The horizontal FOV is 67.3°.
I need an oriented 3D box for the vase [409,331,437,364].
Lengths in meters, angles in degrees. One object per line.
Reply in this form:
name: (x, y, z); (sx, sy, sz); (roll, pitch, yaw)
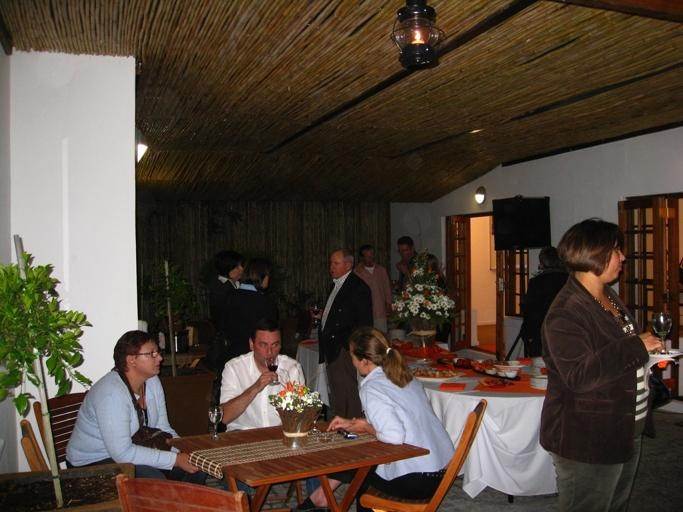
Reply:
vase: (0.782, 0.854, 4.867); (0.216, 0.236, 0.231); (-1, -18, 1)

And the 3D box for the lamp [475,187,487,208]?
lamp: (2.437, -1.062, 8.879); (0.095, 0.375, 0.353); (1, -5, -19)

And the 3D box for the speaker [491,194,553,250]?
speaker: (2.726, -0.576, 7.843); (0.821, 0.839, 0.417); (-1, 21, 14)

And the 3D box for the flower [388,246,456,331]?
flower: (0.640, 0.360, 5.116); (0.680, 0.953, 0.724); (0, -5, 2)

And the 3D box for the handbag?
handbag: (-1.135, 0.972, 3.036); (0.227, 0.395, 0.259); (5, -4, -8)

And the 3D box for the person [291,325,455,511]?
person: (-0.020, 0.940, 3.084); (1.121, 1.208, 0.615); (2, -1, 40)

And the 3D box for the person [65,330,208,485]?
person: (-1.204, 1.022, 3.022); (0.731, 1.080, 0.542); (3, -1, 5)

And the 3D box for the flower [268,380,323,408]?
flower: (-0.250, 0.771, 2.838); (0.208, 0.141, 0.226); (2, -5, 3)

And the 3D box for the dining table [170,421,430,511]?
dining table: (-0.159, 1.045, 2.612); (0.734, 0.397, 0.708); (6, -8, -27)

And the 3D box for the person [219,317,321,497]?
person: (-0.547, 1.080, 3.493); (0.704, 1.204, 0.687); (2, 1, -27)

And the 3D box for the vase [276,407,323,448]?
vase: (-0.231, 0.918, 2.818); (0.217, 0.165, 0.204); (-1, -9, 9)
